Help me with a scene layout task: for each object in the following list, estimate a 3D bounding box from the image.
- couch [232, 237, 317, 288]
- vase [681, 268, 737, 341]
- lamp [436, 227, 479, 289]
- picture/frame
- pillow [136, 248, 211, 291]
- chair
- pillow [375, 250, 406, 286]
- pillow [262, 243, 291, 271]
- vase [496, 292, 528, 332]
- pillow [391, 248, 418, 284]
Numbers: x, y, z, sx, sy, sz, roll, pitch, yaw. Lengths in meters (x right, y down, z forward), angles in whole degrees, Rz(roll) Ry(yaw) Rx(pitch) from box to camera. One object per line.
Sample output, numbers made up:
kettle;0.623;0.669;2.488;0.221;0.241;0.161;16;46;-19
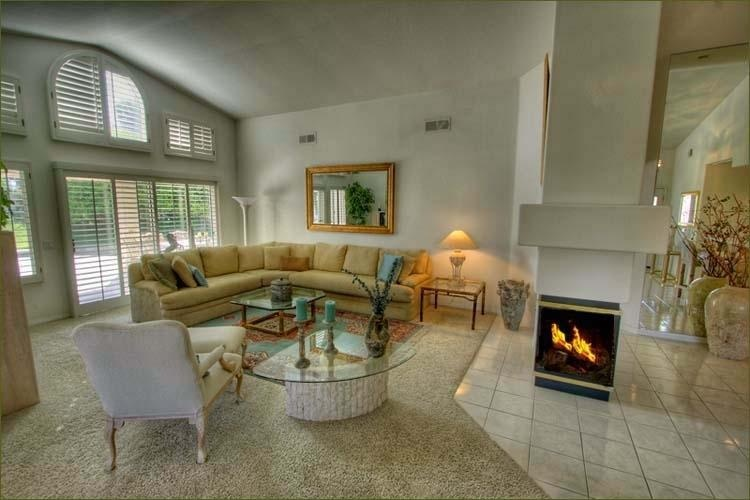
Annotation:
couch;-1.597;0.174;7.763;0.872;0.557;0.864;0;4;30
vase;4.364;0.755;6.124;0.570;0.823;0.570;-3;4;-36
lamp;1.228;0.126;7.163;0.777;1.062;0.750;1;0;5
picture/frame;-0.376;-0.909;7.826;1.433;0.942;0.071;2;7;23
pillow;-2.804;0.297;6.619;0.827;0.458;0.496;-2;4;-27
chair;-1.973;1.244;4.799;1.266;1.496;1.643;0;6;-3
pillow;0.269;0.270;7.033;0.135;0.406;0.441;25;-13;-33
pillow;-1.617;0.135;7.807;0.460;0.438;0.159;-1;-35;-7
vase;1.864;0.859;6.426;0.483;0.547;0.445;1;-2;6
pillow;0.534;0.247;7.107;0.171;0.433;0.447;23;-11;-32
